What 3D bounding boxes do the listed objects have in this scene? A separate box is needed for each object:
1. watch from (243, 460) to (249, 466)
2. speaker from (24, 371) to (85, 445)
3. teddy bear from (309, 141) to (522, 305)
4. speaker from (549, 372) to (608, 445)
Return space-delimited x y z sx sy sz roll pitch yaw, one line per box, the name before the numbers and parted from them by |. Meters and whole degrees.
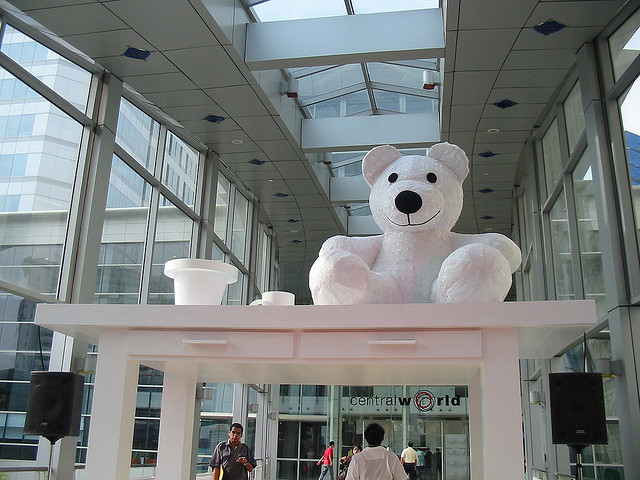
watch | -0.758 2.249 5.486 0.028 0.043 0.030 35 -44 -10
speaker | -1.567 0.958 3.170 0.299 0.357 0.228 5 -21 -14
teddy bear | 0.563 -0.061 3.379 1.200 1.189 0.733 -1 -9 13
speaker | 1.574 1.027 3.339 0.327 0.423 0.290 -8 -22 20
